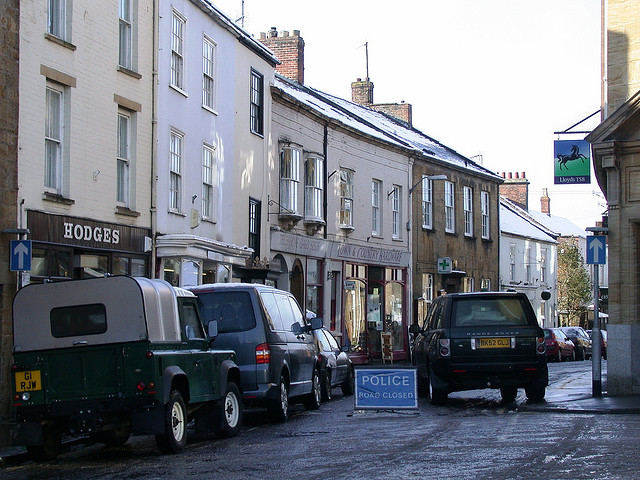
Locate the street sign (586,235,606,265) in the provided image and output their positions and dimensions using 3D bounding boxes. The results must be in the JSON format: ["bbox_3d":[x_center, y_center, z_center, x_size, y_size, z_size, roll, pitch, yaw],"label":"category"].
[{"bbox_3d":[6.269,0.219,21.965,0.601,0.942,0.039,1,1,27],"label":"street sign"}]

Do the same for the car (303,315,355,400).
[{"bbox_3d":[0.117,2.869,23.525,1.064,1.145,2.241,-3,-4,17],"label":"car"}]

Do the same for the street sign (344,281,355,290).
[{"bbox_3d":[1.114,1.783,37.898,0.255,0.364,0.510,-2,-6,16],"label":"street sign"}]

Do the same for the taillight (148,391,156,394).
[{"bbox_3d":[-2.577,2.326,14.761,0.114,0.044,0.014,-1,-8,-19],"label":"taillight"}]

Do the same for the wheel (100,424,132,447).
[{"bbox_3d":[-3.530,3.381,16.598,0.503,0.324,0.573,-2,-9,-14],"label":"wheel"}]

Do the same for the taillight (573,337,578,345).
[{"bbox_3d":[11.755,4.650,44.515,0.235,0.257,0.249,1,-4,-11],"label":"taillight"}]

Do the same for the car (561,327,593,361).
[{"bbox_3d":[12.334,5.047,46.751,1.361,1.557,3.273,-3,-8,28],"label":"car"}]

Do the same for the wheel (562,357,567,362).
[{"bbox_3d":[10.680,5.212,42.320,0.164,0.290,0.277,-3,-8,27],"label":"wheel"}]

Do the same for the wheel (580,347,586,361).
[{"bbox_3d":[12.148,5.262,44.818,0.185,0.646,0.607,-3,-7,10],"label":"wheel"}]

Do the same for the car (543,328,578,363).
[{"bbox_3d":[10.501,4.539,42.260,1.145,1.149,2.503,-2,0,26],"label":"car"}]

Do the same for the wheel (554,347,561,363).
[{"bbox_3d":[10.200,4.931,41.544,0.272,0.613,0.694,-5,-8,16],"label":"wheel"}]

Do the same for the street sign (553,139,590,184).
[{"bbox_3d":[7.317,-2.274,28.120,1.060,1.361,0.551,-6,-8,15],"label":"street sign"}]

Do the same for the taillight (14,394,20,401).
[{"bbox_3d":[-4.721,2.447,15.022,0.078,0.107,0.083,0,2,5],"label":"taillight"}]

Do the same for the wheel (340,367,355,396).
[{"bbox_3d":[0.701,3.717,25.316,0.315,0.703,1.124,-4,-9,5],"label":"wheel"}]

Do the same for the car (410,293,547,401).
[{"bbox_3d":[3.408,2.110,20.052,1.723,1.618,3.175,1,-3,-6],"label":"car"}]

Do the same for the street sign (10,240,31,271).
[{"bbox_3d":[-5.753,0.291,18.535,0.495,0.780,0.031,-1,-2,4],"label":"street sign"}]

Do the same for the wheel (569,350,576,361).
[{"bbox_3d":[11.236,5.160,43.149,0.149,0.524,0.487,1,4,24],"label":"wheel"}]

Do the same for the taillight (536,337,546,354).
[{"bbox_3d":[4.570,2.181,19.997,0.214,0.340,0.109,0,-8,-24],"label":"taillight"}]

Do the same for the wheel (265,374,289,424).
[{"bbox_3d":[-0.840,3.021,18.392,0.280,0.979,0.916,-5,-4,14],"label":"wheel"}]

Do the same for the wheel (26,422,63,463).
[{"bbox_3d":[-4.349,3.160,15.165,0.204,0.658,0.615,-3,-7,25],"label":"wheel"}]

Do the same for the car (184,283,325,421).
[{"bbox_3d":[-1.213,2.114,19.568,1.990,1.786,3.195,-2,-3,20],"label":"car"}]

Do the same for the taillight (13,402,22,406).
[{"bbox_3d":[-4.705,2.547,15.002,0.154,0.051,0.026,-8,-9,25],"label":"taillight"}]

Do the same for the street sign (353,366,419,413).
[{"bbox_3d":[1.284,2.926,19.082,1.266,0.895,0.538,-4,-8,0],"label":"street sign"}]

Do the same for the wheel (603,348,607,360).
[{"bbox_3d":[14.349,5.712,48.759,0.112,0.448,2.162,-6,-9,20],"label":"wheel"}]

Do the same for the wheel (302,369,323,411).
[{"bbox_3d":[-0.195,3.228,20.806,0.297,1.037,0.971,-2,-5,18],"label":"wheel"}]

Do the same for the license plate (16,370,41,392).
[{"bbox_3d":[-4.534,2.195,15.033,0.275,0.231,0.039,-2,-8,8],"label":"license plate"}]

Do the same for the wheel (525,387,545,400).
[{"bbox_3d":[4.674,3.213,21.076,0.431,0.481,0.250,0,7,5],"label":"wheel"}]

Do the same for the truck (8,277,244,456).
[{"bbox_3d":[-3.028,2.136,16.281,2.269,2.415,3.761,-3,-3,22],"label":"truck"}]

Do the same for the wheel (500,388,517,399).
[{"bbox_3d":[4.354,3.534,22.322,0.310,0.272,0.361,6,-10,-23],"label":"wheel"}]

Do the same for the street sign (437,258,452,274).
[{"bbox_3d":[5.684,1.176,44.403,0.615,0.770,0.115,1,5,13],"label":"street sign"}]

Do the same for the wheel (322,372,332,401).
[{"bbox_3d":[0.134,3.425,22.733,0.228,0.804,0.749,-2,0,2],"label":"wheel"}]

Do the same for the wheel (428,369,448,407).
[{"bbox_3d":[2.533,3.211,20.731,0.382,0.731,0.622,-4,-8,7],"label":"wheel"}]
